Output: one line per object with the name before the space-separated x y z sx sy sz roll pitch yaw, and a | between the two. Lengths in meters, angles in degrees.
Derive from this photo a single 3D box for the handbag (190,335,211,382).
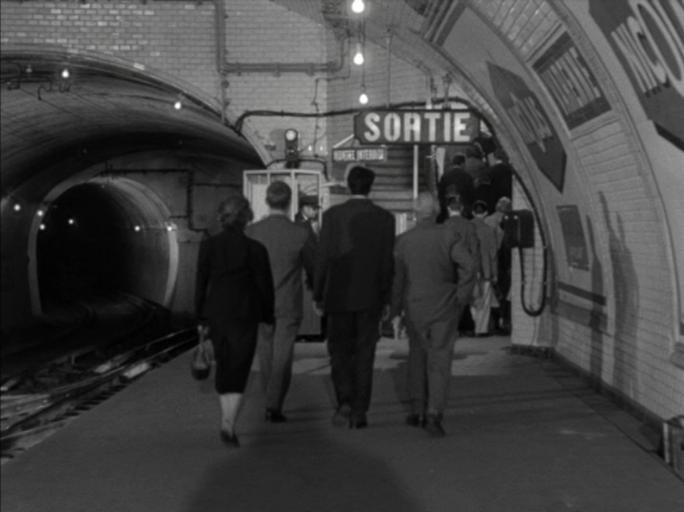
handbag | -1.750 1.295 7.220 0.199 0.493 0.220 7 27 -1

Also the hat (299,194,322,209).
hat | -0.469 -0.852 8.841 0.409 0.223 0.561 0 5 -6
